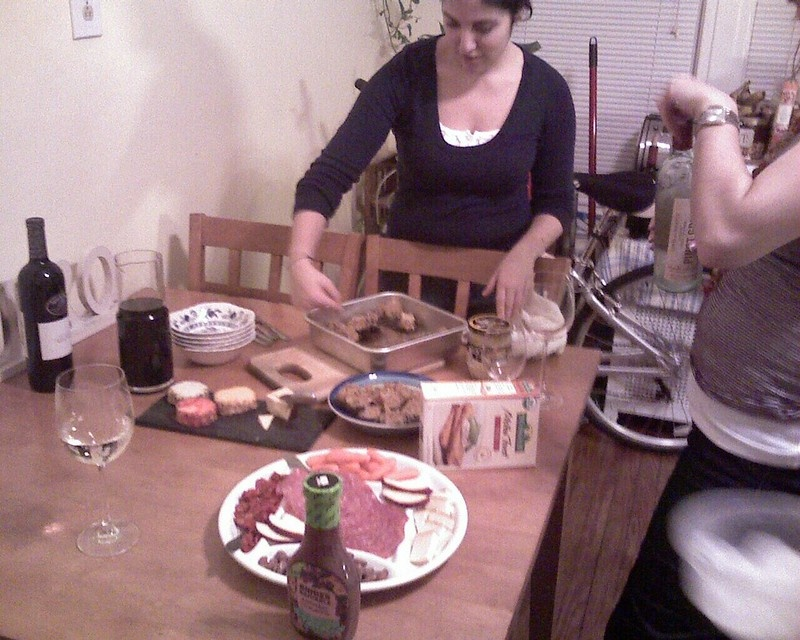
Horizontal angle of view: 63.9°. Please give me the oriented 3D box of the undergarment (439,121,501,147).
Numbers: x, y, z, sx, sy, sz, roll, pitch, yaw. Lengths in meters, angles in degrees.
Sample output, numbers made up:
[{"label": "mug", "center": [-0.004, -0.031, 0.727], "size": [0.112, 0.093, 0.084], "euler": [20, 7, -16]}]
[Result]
[{"label": "undergarment", "center": [0.195, -0.545, 1.897], "size": [0.113, 0.090, 0.033], "euler": [2, -13, 1]}]

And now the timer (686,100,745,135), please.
[{"label": "timer", "center": [0.554, -0.342, 1.105], "size": [0.048, 0.026, 0.056], "euler": [6, 9, 2]}]

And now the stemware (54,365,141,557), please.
[{"label": "stemware", "center": [-0.500, 0.218, 1.067], "size": [0.114, 0.238, 0.261], "euler": [-7, 25, -24]}]

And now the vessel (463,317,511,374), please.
[{"label": "vessel", "center": [0.185, 0.056, 1.398], "size": [0.104, 0.173, 0.108], "euler": [0, 43, 5]}]

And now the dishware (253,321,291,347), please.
[{"label": "dishware", "center": [-0.341, 0.039, 1.693], "size": [0.039, 0.034, 0.095], "euler": [-14, 21, -22]}]

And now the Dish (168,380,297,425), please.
[{"label": "Dish", "center": [-0.376, 0.171, 1.362], "size": [0.186, 0.032, 0.118], "euler": [4, 22, -23]}]

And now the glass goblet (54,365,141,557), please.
[{"label": "glass goblet", "center": [-0.500, 0.218, 1.067], "size": [0.114, 0.238, 0.261], "euler": [-7, 25, -24]}]
